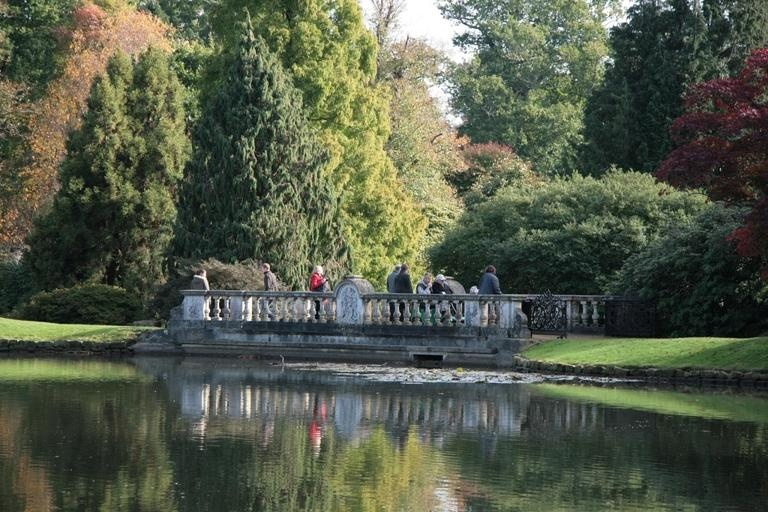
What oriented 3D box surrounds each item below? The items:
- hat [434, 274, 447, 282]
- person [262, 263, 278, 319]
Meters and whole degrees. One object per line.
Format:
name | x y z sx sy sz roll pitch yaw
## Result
hat | 2.043 0.845 53.418 0.233 0.177 0.316 -2 2 -37
person | -4.382 1.388 54.976 0.510 2.316 1.451 0 -8 -5
